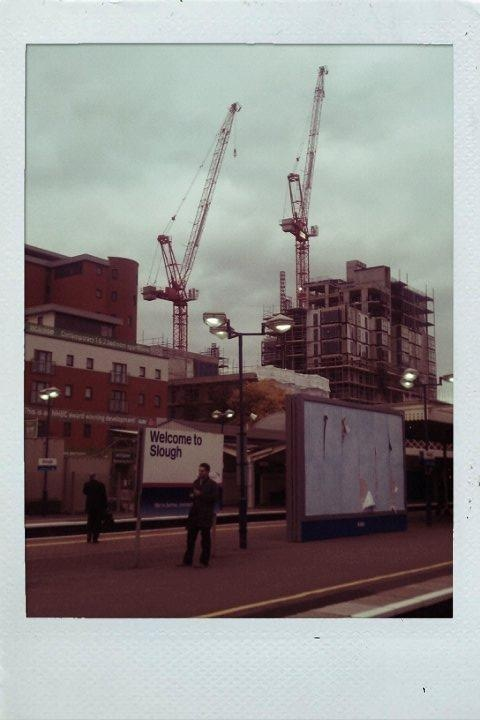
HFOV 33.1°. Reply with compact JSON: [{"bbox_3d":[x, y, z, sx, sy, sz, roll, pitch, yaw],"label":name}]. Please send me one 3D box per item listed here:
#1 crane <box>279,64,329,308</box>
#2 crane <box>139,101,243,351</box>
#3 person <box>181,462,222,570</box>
[{"bbox_3d":[8.541,-21.732,128.490,3.691,55.975,6.594,2,-1,-22],"label":"crane"},{"bbox_3d":[-9.083,-12.532,119.592,9.232,56.899,5.272,2,-5,25],"label":"crane"},{"bbox_3d":[-0.484,2.256,11.914,0.481,1.557,0.532,6,-8,-33],"label":"person"}]
